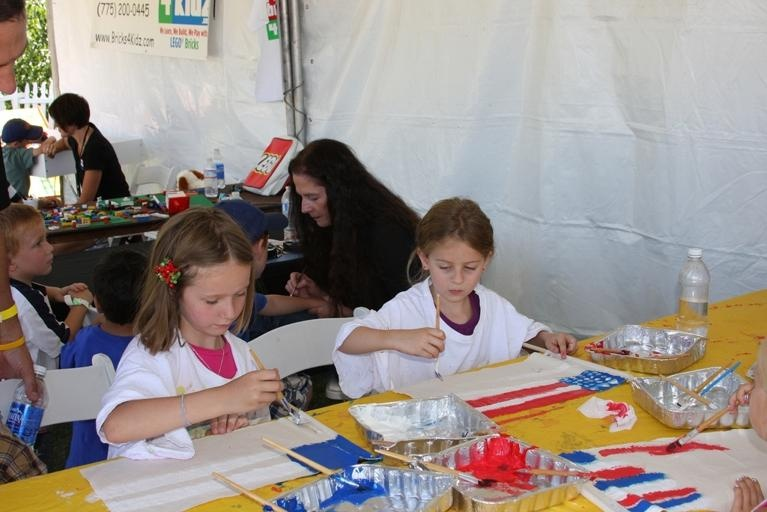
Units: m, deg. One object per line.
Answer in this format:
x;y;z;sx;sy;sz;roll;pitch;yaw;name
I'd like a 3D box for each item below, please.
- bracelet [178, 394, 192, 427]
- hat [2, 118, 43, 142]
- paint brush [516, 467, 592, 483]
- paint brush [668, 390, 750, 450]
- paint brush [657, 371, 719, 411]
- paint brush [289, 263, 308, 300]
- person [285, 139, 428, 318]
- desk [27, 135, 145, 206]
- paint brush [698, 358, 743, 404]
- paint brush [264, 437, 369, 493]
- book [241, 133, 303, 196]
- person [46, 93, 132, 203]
-0.669;0.518;2.047;0.036;0.097;0.054;-5;9;-27;bracelet
-3.601;-1.244;6.128;0.370;0.189;0.233;-6;35;-27;hat
0.525;0.665;1.852;0.224;0.049;0.082;-1;7;3;paint brush
1.106;0.567;2.081;0.244;0.034;0.026;-40;-11;-14;paint brush
1.118;0.488;2.250;0.182;0.042;0.127;-27;36;-30;paint brush
-0.546;0.159;3.819;0.062;0.086;0.217;11;60;5;paint brush
-0.150;-0.195;3.736;0.967;0.976;0.679;24;37;38;person
-2.770;-0.827;5.747;1.048;0.703;0.617;-15;24;-38;desk
1.241;0.469;2.258;0.177;0.059;0.035;-36;18;-2;paint brush
-0.230;0.654;1.934;0.399;0.077;0.079;5;9;40;paint brush
-0.938;-0.754;5.098;0.203;0.553;0.436;33;-1;-35;book
-2.839;-1.075;5.957;0.704;1.539;0.689;-7;52;-21;person
